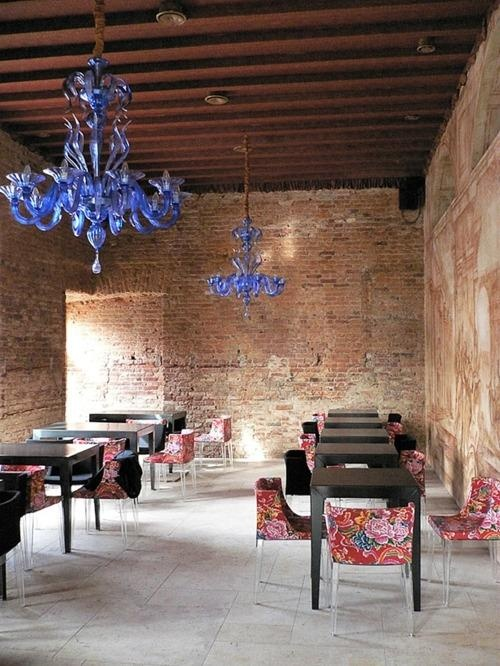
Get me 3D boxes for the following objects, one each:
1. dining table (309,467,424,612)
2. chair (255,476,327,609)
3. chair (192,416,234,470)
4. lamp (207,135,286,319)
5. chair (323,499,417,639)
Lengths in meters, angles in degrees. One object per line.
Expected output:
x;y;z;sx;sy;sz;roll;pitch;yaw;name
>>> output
0.676;1.264;3.579;0.672;0.852;0.878;-1;-3;7;dining table
0.183;1.295;3.725;0.627;0.903;0.633;-1;-6;5;chair
-0.533;1.737;9.028;0.777;1.162;0.822;1;-5;-1;chair
0.023;-1.378;8.349;1.289;2.373;3.123;-1;-5;-4;lamp
0.631;1.220;2.997;0.463;0.716;0.508;-2;-2;10;chair
